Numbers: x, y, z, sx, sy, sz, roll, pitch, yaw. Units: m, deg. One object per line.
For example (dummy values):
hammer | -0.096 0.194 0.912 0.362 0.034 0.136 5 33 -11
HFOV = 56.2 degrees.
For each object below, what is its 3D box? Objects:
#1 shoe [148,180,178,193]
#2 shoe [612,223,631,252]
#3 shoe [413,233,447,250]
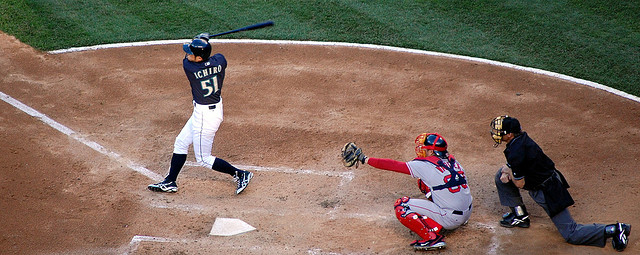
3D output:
shoe | -5.195 1.936 19.818 0.950 0.250 0.387 1 62 -3
shoe | 9.305 3.371 18.505 0.529 0.455 0.809 7 90 -24
shoe | 3.542 3.572 18.498 1.359 0.363 0.454 1 92 -1
